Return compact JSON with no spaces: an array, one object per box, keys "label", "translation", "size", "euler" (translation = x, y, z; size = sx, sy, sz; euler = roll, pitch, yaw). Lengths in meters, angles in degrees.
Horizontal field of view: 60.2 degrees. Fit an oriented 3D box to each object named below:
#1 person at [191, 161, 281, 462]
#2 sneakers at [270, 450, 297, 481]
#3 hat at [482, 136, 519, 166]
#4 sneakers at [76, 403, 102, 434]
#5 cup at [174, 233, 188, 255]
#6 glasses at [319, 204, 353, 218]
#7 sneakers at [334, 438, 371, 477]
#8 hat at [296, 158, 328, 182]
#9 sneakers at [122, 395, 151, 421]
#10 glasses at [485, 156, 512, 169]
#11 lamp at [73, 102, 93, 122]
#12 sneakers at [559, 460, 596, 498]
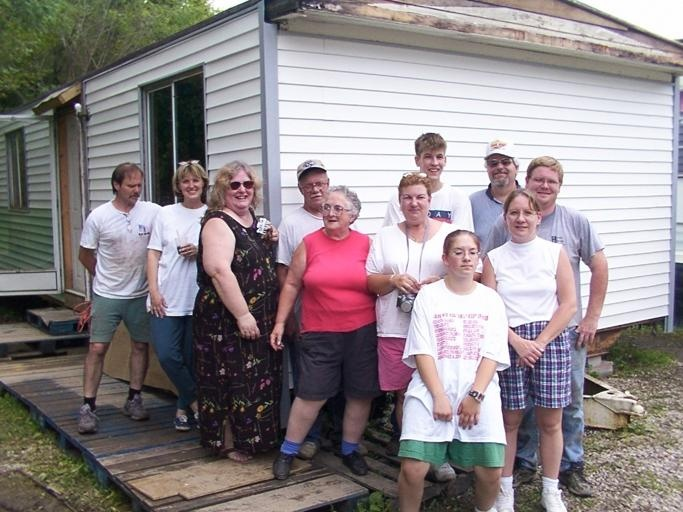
[{"label":"person","translation":[-0.753,0.403,4.387],"size":[0.639,2.172,0.322],"euler":[1,8,-13]},{"label":"sneakers","translation":[-0.424,1.516,4.238],"size":[0.096,0.104,0.273],"euler":[14,-3,3]},{"label":"hat","translation":[1.283,-0.843,4.758],"size":[0.244,0.203,0.283],"euler":[5,7,21]},{"label":"sneakers","translation":[-2.139,1.360,5.003],"size":[0.150,0.222,0.253],"euler":[0,8,-25]},{"label":"cup","translation":[-1.319,-0.106,4.862],"size":[0.080,0.189,0.074],"euler":[3,8,0]},{"label":"glasses","translation":[-0.029,-0.335,4.260],"size":[0.218,0.081,0.076],"euler":[3,7,3]},{"label":"sneakers","translation":[0.102,1.522,4.465],"size":[0.126,0.147,0.338],"euler":[-10,13,-34]},{"label":"hat","translation":[-0.237,-0.684,4.657],"size":[0.218,0.162,0.196],"euler":[3,7,2]},{"label":"sneakers","translation":[-1.822,1.372,5.297],"size":[0.126,0.151,0.341],"euler":[-2,0,-37]},{"label":"glasses","translation":[1.250,-0.756,4.714],"size":[0.114,0.060,0.150],"euler":[-6,-12,16]},{"label":"lamp","translation":[-3.319,-1.866,7.604],"size":[0.209,0.084,0.282],"euler":[9,5,-25]},{"label":"sneakers","translation":[1.758,1.712,4.484],"size":[0.136,0.158,0.366],"euler":[3,-6,-22]}]
